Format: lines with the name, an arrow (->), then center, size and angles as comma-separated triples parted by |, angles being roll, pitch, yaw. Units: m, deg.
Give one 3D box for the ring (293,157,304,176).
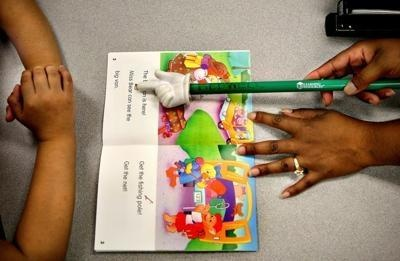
ring -> 0.312, 0.116, 1.106 | 0.039, 0.021, 0.052 | -23, 93, -46
